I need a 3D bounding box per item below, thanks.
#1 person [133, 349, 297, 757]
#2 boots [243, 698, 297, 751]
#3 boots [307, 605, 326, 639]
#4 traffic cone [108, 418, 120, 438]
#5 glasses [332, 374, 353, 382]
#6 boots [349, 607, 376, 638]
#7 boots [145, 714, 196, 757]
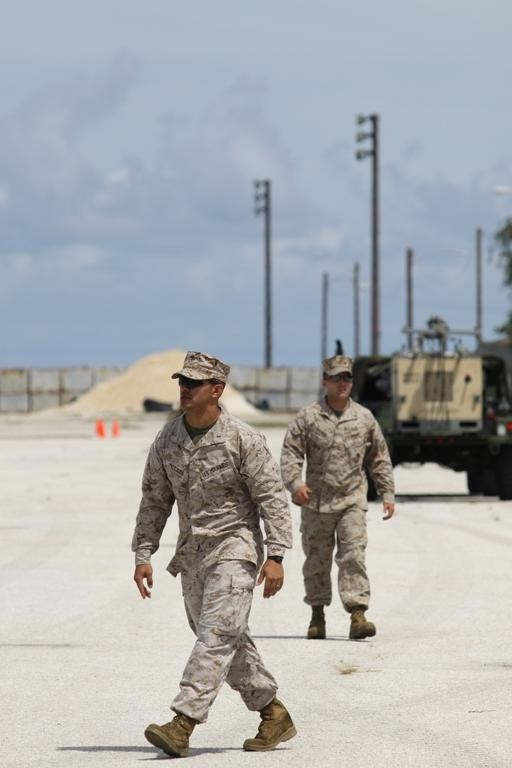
[{"bbox_3d":[-0.201,0.717,6.382,0.743,1.745,0.829,0,0,-19],"label":"person"},{"bbox_3d":[0.047,1.496,6.266,0.279,0.199,0.097,-15,2,-38],"label":"boots"},{"bbox_3d":[0.375,1.477,8.833,0.116,0.176,0.273,0,0,4],"label":"boots"},{"bbox_3d":[-4.105,1.216,41.202,0.294,0.637,0.284,24,-51,-21],"label":"traffic cone"},{"bbox_3d":[0.552,-0.053,8.978,0.065,0.030,0.082,0,26,8],"label":"glasses"},{"bbox_3d":[0.649,1.463,8.688,0.161,0.191,0.212,0,0,3],"label":"boots"},{"bbox_3d":[-0.356,1.479,5.949,0.156,0.189,0.184,0,0,23],"label":"boots"}]
